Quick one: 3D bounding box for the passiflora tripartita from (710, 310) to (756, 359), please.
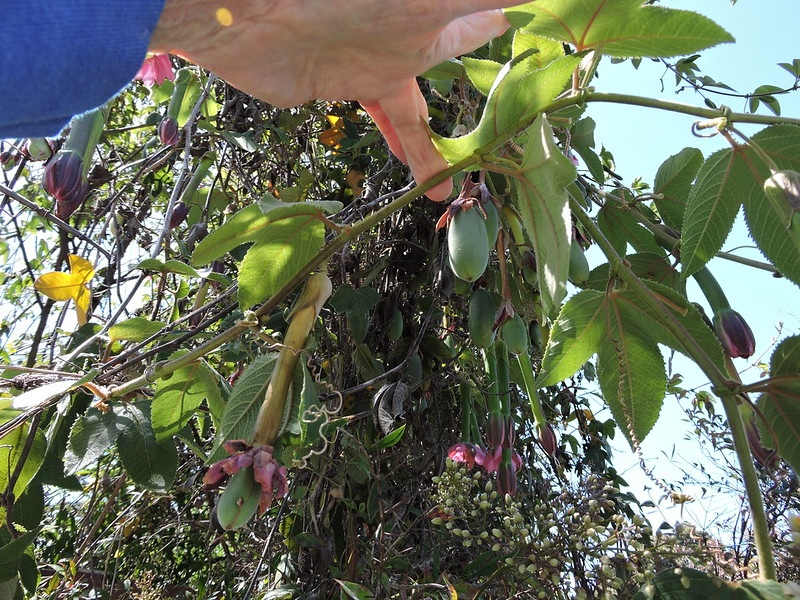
[{"bbox_3d":[0.499,0.057,0.889,0.044,0.080,0.031,-4,-36,-13],"label":"passiflora tripartita"}]

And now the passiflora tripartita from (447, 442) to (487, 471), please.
[{"bbox_3d":[0.143,0.325,1.240,0.073,0.067,0.062,-4,-43,7],"label":"passiflora tripartita"}]

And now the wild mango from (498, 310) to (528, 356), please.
[{"bbox_3d":[0.218,0.060,1.121,0.055,0.105,0.062,-1,-51,6],"label":"wild mango"}]

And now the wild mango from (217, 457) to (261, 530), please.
[{"bbox_3d":[-0.212,0.269,0.777,0.039,0.016,0.089,29,-69,-3],"label":"wild mango"}]

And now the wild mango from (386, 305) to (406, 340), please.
[{"bbox_3d":[-0.015,0.062,1.433,0.043,0.082,0.025,-23,-47,26],"label":"wild mango"}]

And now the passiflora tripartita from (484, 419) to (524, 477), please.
[{"bbox_3d":[0.199,0.317,1.159,0.051,0.046,0.092,-20,0,-1],"label":"passiflora tripartita"}]

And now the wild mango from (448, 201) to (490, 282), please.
[{"bbox_3d":[0.110,-0.091,0.943,0.060,0.074,0.141,18,-37,26],"label":"wild mango"}]

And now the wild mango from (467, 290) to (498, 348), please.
[{"bbox_3d":[0.154,0.031,1.125,0.069,0.134,0.044,5,-35,-5],"label":"wild mango"}]
